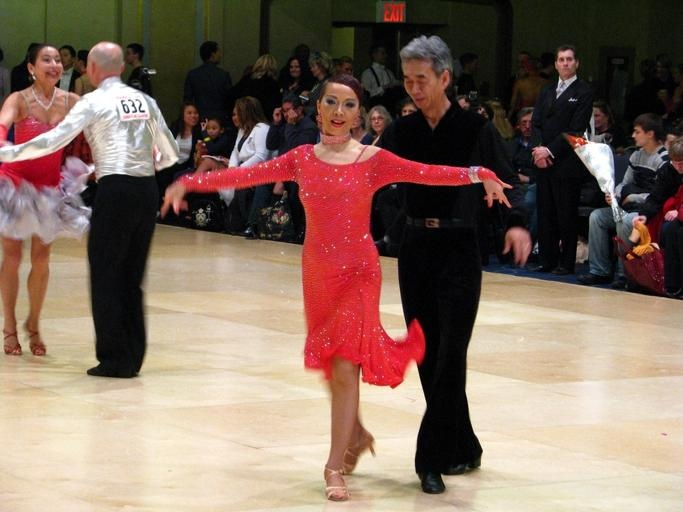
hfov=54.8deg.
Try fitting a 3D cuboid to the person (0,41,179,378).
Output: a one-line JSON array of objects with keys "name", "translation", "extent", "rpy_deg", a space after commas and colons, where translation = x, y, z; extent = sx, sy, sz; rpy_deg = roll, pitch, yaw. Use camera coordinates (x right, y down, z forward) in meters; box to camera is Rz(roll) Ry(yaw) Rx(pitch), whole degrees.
[{"name": "person", "translation": [-1.705, -0.351, 4.800], "extent": [0.955, 2.415, 0.494], "rpy_deg": [0, 6, -11]}]

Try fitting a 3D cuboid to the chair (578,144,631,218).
[{"name": "chair", "translation": [3.227, -1.056, 8.113], "extent": [0.428, 1.122, 0.385], "rpy_deg": [-18, -14, 7]}]

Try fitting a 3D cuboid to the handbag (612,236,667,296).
[{"name": "handbag", "translation": [3.680, 0.140, 8.209], "extent": [0.726, 0.670, 0.530], "rpy_deg": [-5, 12, -6]}]

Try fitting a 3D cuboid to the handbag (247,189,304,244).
[{"name": "handbag", "translation": [-1.091, -0.648, 11.083], "extent": [0.926, 0.883, 0.361], "rpy_deg": [7, 13, 22]}]

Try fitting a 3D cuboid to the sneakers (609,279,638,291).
[{"name": "sneakers", "translation": [3.610, 0.376, 8.426], "extent": [0.310, 0.128, 0.106], "rpy_deg": [-2, -4, 40]}]

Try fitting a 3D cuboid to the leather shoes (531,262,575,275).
[{"name": "leather shoes", "translation": [2.989, 0.203, 9.278], "extent": [0.561, 0.224, 0.182], "rpy_deg": [6, -5, -2]}]

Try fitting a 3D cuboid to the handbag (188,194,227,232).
[{"name": "handbag", "translation": [-2.526, -0.823, 12.521], "extent": [0.836, 0.912, 0.522], "rpy_deg": [1, 3, 13]}]

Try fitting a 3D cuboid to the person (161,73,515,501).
[{"name": "person", "translation": [-0.019, 0.098, 2.888], "extent": [1.359, 1.786, 0.492], "rpy_deg": [4, 6, 20]}]

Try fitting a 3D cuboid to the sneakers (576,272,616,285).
[{"name": "sneakers", "translation": [3.325, 0.309, 8.747], "extent": [0.565, 0.228, 0.187], "rpy_deg": [6, -2, -18]}]
